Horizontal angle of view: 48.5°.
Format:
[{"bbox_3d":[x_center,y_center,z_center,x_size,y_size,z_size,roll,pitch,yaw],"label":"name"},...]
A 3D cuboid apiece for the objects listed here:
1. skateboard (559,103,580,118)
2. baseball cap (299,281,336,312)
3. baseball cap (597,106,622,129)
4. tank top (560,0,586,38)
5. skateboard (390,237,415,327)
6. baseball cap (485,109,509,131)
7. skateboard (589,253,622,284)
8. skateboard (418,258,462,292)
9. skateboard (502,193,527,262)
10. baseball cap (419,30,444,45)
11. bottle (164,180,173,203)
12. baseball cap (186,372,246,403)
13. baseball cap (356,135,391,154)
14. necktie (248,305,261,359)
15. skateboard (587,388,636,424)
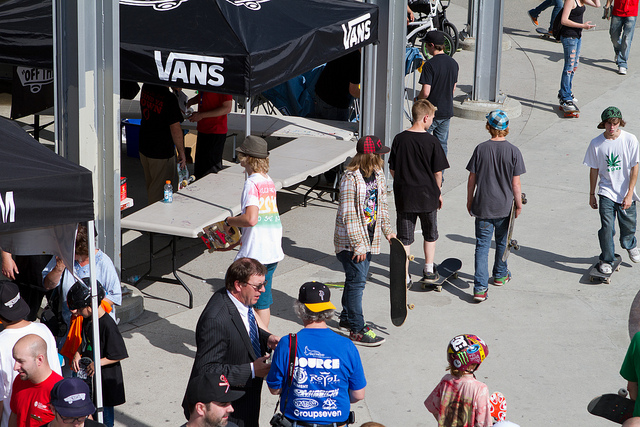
[{"bbox_3d":[5.159,-2.100,14.698,0.416,0.198,0.189,-4,13,-10],"label":"skateboard"},{"bbox_3d":[-0.028,0.718,6.242,0.281,0.216,0.415,1,10,-20],"label":"baseball cap"},{"bbox_3d":[3.746,-1.254,9.161,0.155,0.129,0.238,-15,-7,-44],"label":"baseball cap"},{"bbox_3d":[5.204,-4.001,14.745,0.547,0.946,0.776,4,14,21],"label":"tank top"},{"bbox_3d":[0.971,0.832,8.458,0.255,0.972,0.133,8,12,35],"label":"skateboard"},{"bbox_3d":[2.266,-1.183,9.142,0.260,0.199,0.366,-10,37,-9],"label":"baseball cap"},{"bbox_3d":[3.942,0.765,9.703,0.629,0.319,0.254,-7,14,-43],"label":"skateboard"},{"bbox_3d":[1.654,0.859,9.554,0.253,0.173,0.970,15,35,27],"label":"skateboard"},{"bbox_3d":[2.608,0.258,9.324,0.170,1.185,0.318,10,-7,0],"label":"skateboard"},{"bbox_3d":[1.839,-2.834,11.562,0.309,0.185,0.223,19,37,19],"label":"baseball cap"},{"bbox_3d":[-2.005,-0.280,9.350,0.098,0.281,0.145,1,10,-12],"label":"bottle"},{"bbox_3d":[-0.839,1.389,5.661,0.518,0.215,0.366,-1,-4,-3],"label":"baseball cap"},{"bbox_3d":[0.623,-0.773,8.320,0.328,0.138,0.216,-14,29,-28],"label":"baseball cap"},{"bbox_3d":[-0.587,1.062,6.354,0.122,0.470,0.099,4,10,4],"label":"necktie"},{"bbox_3d":[2.686,1.806,6.535,0.387,0.260,0.250,9,12,27],"label":"skateboard"}]
